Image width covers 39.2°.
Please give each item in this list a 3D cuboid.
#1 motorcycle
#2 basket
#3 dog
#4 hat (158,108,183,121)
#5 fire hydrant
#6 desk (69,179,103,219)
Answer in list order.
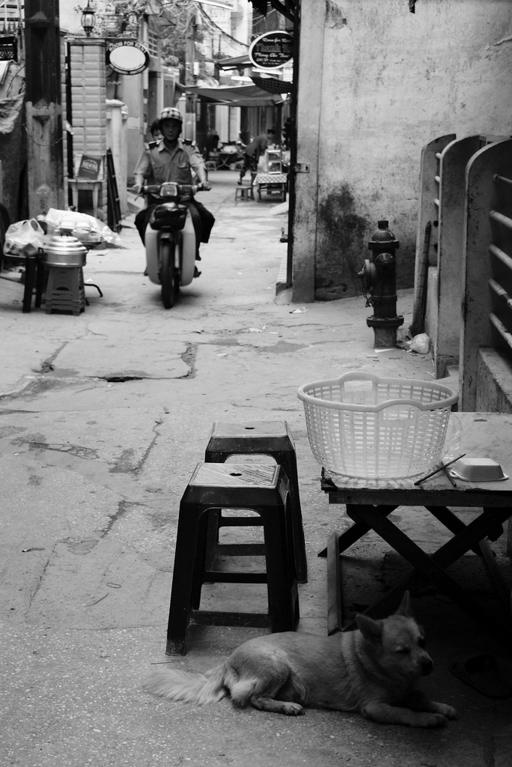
[{"bbox_3d":[-1.004,-1.675,8.636,0.674,1.524,1.040,-1,9,-8],"label":"motorcycle"},{"bbox_3d":[0.350,0.121,2.126,0.458,0.249,0.579,2,9,11],"label":"basket"},{"bbox_3d":[0.082,0.657,1.888,0.680,0.275,0.317,-3,0,20],"label":"dog"},{"bbox_3d":[-1.045,-3.240,8.624,0.229,0.160,0.367,1,9,3],"label":"hat"},{"bbox_3d":[1.240,-0.993,7.067,0.418,1.210,0.994,2,9,11],"label":"fire hydrant"},{"bbox_3d":[-3.206,-3.534,13.702,0.664,0.845,0.674,5,14,22],"label":"desk"}]
